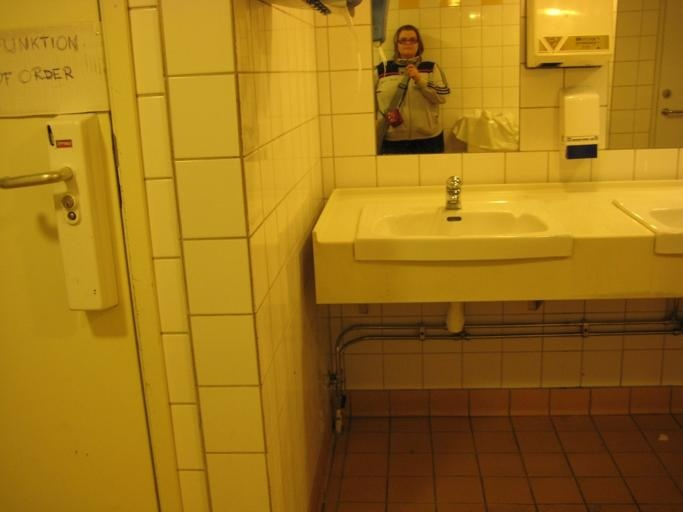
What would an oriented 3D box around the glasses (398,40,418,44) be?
[{"bbox_3d":[0.267,-0.872,2.626,0.070,0.021,0.013,-2,19,0],"label":"glasses"}]
